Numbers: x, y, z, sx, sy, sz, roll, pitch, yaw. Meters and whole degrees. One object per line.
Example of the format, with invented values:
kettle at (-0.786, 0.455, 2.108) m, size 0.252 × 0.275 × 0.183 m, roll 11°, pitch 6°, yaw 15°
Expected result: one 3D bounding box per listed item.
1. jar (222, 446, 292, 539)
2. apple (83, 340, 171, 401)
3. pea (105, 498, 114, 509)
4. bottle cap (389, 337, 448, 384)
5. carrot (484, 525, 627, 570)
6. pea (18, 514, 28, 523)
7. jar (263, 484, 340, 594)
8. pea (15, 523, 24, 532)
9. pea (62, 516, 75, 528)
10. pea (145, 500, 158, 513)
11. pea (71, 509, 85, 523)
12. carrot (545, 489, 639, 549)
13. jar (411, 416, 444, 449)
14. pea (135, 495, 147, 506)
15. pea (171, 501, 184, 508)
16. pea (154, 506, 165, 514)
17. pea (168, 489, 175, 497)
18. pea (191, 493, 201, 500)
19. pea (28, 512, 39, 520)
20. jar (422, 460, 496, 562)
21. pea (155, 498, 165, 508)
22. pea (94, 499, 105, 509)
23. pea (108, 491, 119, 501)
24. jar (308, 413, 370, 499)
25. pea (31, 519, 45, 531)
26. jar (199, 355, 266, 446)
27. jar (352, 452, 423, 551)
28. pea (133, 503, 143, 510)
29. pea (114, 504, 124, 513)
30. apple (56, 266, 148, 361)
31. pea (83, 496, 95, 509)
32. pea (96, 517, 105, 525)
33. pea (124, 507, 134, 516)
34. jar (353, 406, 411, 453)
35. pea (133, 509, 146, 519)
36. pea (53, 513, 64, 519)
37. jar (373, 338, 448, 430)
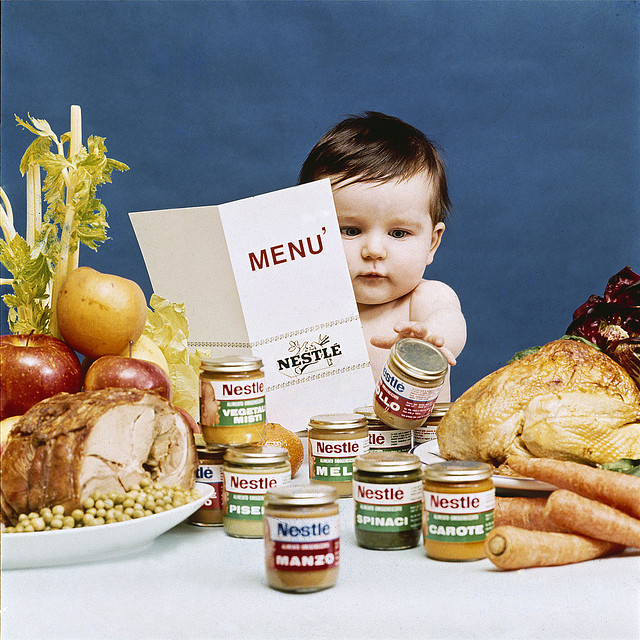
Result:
jar at (-0.089, 0.211, 1.009) m, size 0.120 × 0.112 × 0.110 m, roll 0°, pitch -2°, yaw 0°
apple at (-0.268, 0.070, 1.094) m, size 0.082 × 0.066 × 0.076 m, roll 2°, pitch -10°, yaw 4°
pea at (-0.249, 0.217, 0.940) m, size 0.011 × 0.011 × 0.010 m, roll 0°, pitch 6°, yaw 5°
bottle cap at (0.144, 0.062, 1.228) m, size 0.095 × 0.031 × 0.086 m, roll -7°, pitch 50°, yaw -37°
carrot at (0.278, 0.256, 0.916) m, size 0.048 × 0.047 × 0.186 m, roll 23°, pitch -32°, yaw -35°
pea at (-0.338, 0.227, 0.912) m, size 0.010 × 0.010 × 0.009 m, roll 3°, pitch -32°, yaw -16°
jar at (-0.021, 0.245, 0.900) m, size 0.088 × 0.095 × 0.097 m, roll -6°, pitch -11°, yaw 34°
pea at (-0.340, 0.235, 0.901) m, size 0.009 × 0.008 × 0.010 m, roll -11°, pitch -14°, yaw 42°
pea at (-0.288, 0.232, 0.914) m, size 0.013 × 0.010 × 0.013 m, roll -4°, pitch 13°, yaw -16°
pea at (-0.203, 0.223, 0.954) m, size 0.014 × 0.014 × 0.013 m, roll 4°, pitch 4°, yaw 4°
pea at (-0.281, 0.227, 0.927) m, size 0.013 × 0.014 × 0.014 m, roll -5°, pitch 14°, yaw -19°
carrot at (0.320, 0.233, 0.937) m, size 0.157 × 0.041 × 0.044 m, roll 15°, pitch -5°, yaw -7°
jar at (0.175, 0.185, 1.334) m, size 0.055 × 0.072 × 0.050 m, roll 1°, pitch -11°, yaw -7°
pea at (-0.215, 0.216, 0.953) m, size 0.011 × 0.010 × 0.006 m, roll 1°, pitch 31°, yaw -11°
pea at (-0.174, 0.223, 0.965) m, size 0.007 × 0.007 × 0.007 m, roll 1°, pitch 15°, yaw -2°
pea at (-0.193, 0.227, 0.952) m, size 0.012 × 0.006 × 0.010 m, roll 3°, pitch 13°, yaw 16°
pea at (-0.185, 0.214, 0.985) m, size 0.005 × 0.005 × 0.005 m, roll 0°, pitch 8°, yaw 4°
pea at (-0.157, 0.221, 0.999) m, size 0.008 × 0.007 × 0.007 m, roll -4°, pitch 29°, yaw -1°
pea at (-0.329, 0.224, 0.915) m, size 0.012 × 0.006 × 0.015 m, roll -5°, pitch 13°, yaw -19°
jar at (0.166, 0.229, 0.965) m, size 0.094 × 0.106 × 0.104 m, roll 0°, pitch -5°, yaw 9°
pea at (-0.193, 0.220, 0.956) m, size 0.009 × 0.008 × 0.008 m, roll 1°, pitch -10°, yaw -10°
pea at (-0.258, 0.216, 0.933) m, size 0.010 × 0.010 × 0.009 m, roll 0°, pitch -5°, yaw -19°
pea at (-0.245, 0.209, 0.948) m, size 0.009 × 0.004 × 0.009 m, roll -10°, pitch 4°, yaw 9°
jar at (0.024, 0.194, 1.153) m, size 0.084 × 0.103 × 0.078 m, roll 3°, pitch -2°, yaw 0°
pea at (-0.317, 0.231, 0.897) m, size 0.012 × 0.012 × 0.007 m, roll 4°, pitch -15°, yaw -19°
jar at (-0.124, 0.113, 1.119) m, size 0.097 × 0.115 × 0.093 m, roll -2°, pitch 1°, yaw 0°
jar at (0.081, 0.230, 1.018) m, size 0.114 × 0.109 × 0.110 m, roll 0°, pitch -1°, yaw 0°
pea at (-0.216, 0.221, 0.945) m, size 0.007 × 0.006 × 0.007 m, roll 5°, pitch 5°, yaw 28°
pea at (-0.237, 0.223, 0.941) m, size 0.008 × 0.007 × 0.008 m, roll -4°, pitch 7°, yaw 3°
apple at (-0.320, -0.005, 1.183) m, size 0.144 × 0.124 × 0.141 m, roll 10°, pitch 5°, yaw 34°
pea at (-0.271, 0.214, 0.935) m, size 0.011 × 0.013 × 0.011 m, roll 27°, pitch -9°, yaw 5°
pea at (-0.255, 0.232, 0.919) m, size 0.007 × 0.006 × 0.003 m, roll 0°, pitch 16°, yaw -14°
pea at (-0.224, 0.224, 0.935) m, size 0.009 × 0.008 × 0.005 m, roll 4°, pitch -16°, yaw -13°
jar at (0.105, 0.178, 1.303) m, size 0.082 × 0.067 × 0.075 m, roll 0°, pitch -1°, yaw 0°
pea at (-0.214, 0.229, 0.940) m, size 0.010 × 0.008 × 0.009 m, roll -4°, pitch 32°, yaw -15°
pea at (-0.300, 0.224, 0.914) m, size 0.006 × 0.005 × 0.007 m, roll -1°, pitch -3°, yaw 41°
jar at (0.137, 0.103, 1.244) m, size 0.101 × 0.103 × 0.100 m, roll 14°, pitch 25°, yaw -7°
